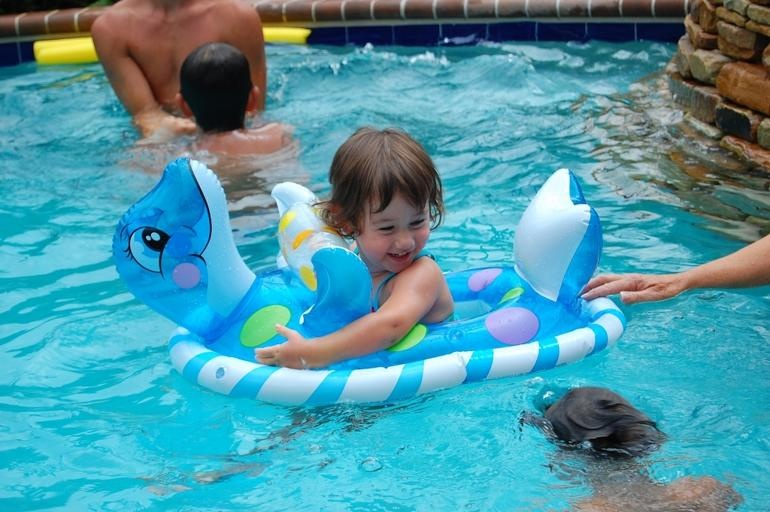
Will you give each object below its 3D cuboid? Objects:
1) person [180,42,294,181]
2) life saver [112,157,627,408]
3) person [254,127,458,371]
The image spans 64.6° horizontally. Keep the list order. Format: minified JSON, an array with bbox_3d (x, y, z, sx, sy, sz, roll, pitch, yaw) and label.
[{"bbox_3d":[-1.084,-0.962,3.937,0.977,0.693,0.427,-8,36,-16],"label":"person"},{"bbox_3d":[-0.117,0.058,2.916,2.005,0.696,1.307,-1,10,-6],"label":"life saver"},{"bbox_3d":[-0.112,-0.052,2.796,0.684,0.957,0.771,3,24,14],"label":"person"}]
